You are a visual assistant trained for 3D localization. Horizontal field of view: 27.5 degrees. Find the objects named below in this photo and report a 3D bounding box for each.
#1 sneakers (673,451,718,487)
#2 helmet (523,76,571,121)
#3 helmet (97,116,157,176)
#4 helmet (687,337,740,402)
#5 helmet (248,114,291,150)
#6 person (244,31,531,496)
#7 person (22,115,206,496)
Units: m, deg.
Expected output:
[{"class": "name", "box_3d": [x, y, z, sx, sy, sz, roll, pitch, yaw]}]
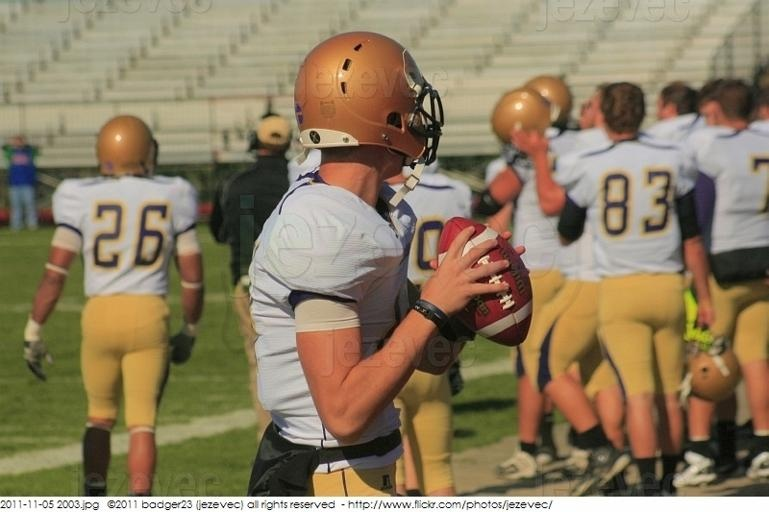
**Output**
[{"class": "sneakers", "box_3d": [1.792, 1.242, 9.093, 0.226, 0.075, 0.224, -7, -5, 2]}, {"class": "helmet", "box_3d": [0.960, -0.929, 9.113, 0.289, 0.258, 0.207, -16, 15, 13]}, {"class": "helmet", "box_3d": [-1.389, -0.594, 8.808, 0.298, 0.347, 0.344, 6, -40, -4]}, {"class": "helmet", "box_3d": [1.914, 0.669, 9.206, 0.296, 0.349, 0.291, -2, 7, 9]}, {"class": "helmet", "box_3d": [-0.666, -0.719, 9.237, 0.186, 0.237, 0.246, 18, 32, 12]}, {"class": "person", "box_3d": [-0.132, 0.050, 7.396, 1.082, 2.199, 0.456, -2, 5, -5]}, {"class": "person", "box_3d": [-1.485, 0.288, 8.756, 0.906, 2.070, 0.239, -3, 5, -13]}]
